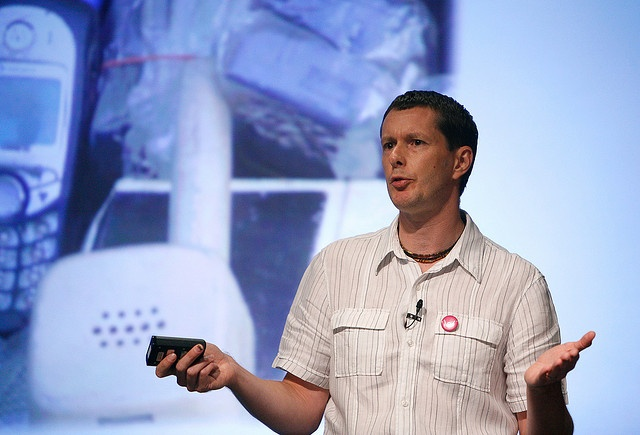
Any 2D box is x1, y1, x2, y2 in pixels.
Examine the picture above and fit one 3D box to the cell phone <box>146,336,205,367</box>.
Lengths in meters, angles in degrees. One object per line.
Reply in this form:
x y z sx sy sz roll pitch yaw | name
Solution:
-0.548 0.501 2.935 0.186 0.127 0.049 8 16 -14 | cell phone
